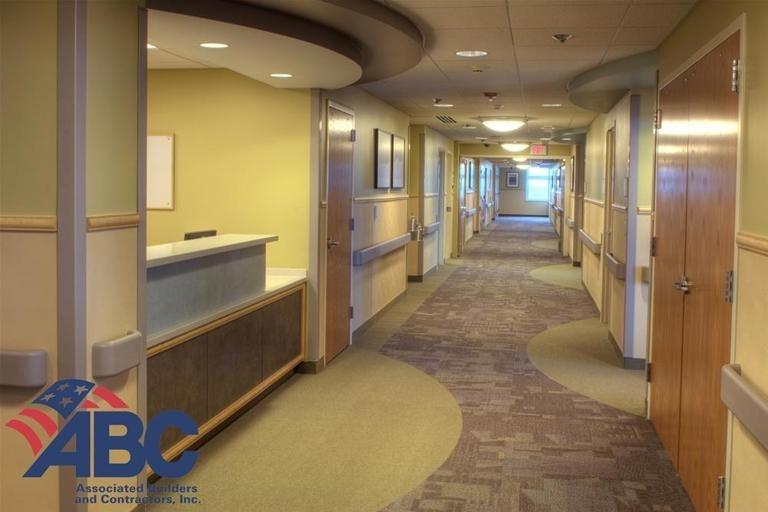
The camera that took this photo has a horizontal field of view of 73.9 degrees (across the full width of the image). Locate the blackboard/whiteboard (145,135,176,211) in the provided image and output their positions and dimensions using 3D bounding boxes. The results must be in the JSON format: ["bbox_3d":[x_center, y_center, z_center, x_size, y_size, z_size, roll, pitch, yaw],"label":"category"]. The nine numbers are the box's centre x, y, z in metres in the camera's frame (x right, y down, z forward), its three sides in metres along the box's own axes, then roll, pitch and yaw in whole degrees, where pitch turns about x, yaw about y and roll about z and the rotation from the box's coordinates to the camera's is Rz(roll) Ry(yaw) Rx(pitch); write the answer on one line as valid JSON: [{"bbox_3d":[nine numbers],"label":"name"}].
[{"bbox_3d":[-2.526,-0.940,5.771,0.500,0.860,0.044,5,6,29],"label":"blackboard/whiteboard"}]

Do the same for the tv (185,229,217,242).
[{"bbox_3d":[-1.755,-0.209,4.892,0.214,0.050,0.486,-1,9,-8],"label":"tv"}]
